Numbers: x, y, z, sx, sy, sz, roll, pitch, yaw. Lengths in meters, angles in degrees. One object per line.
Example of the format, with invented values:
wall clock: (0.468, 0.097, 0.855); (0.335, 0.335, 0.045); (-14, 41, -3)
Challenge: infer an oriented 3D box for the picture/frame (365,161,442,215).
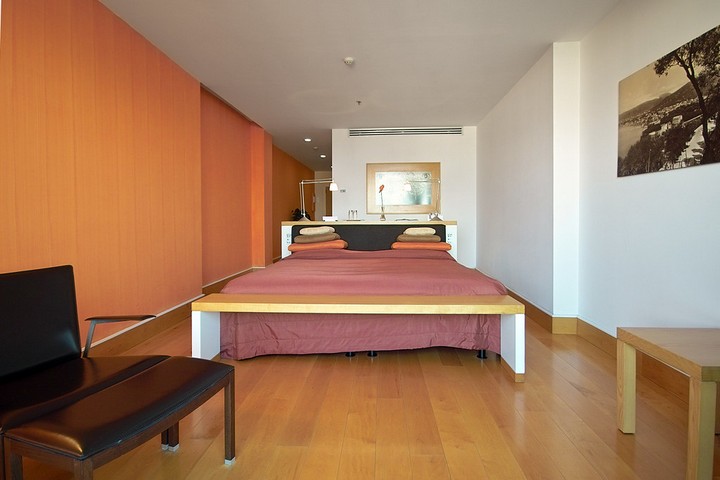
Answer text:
picture/frame: (0.755, -0.904, 7.723); (0.948, 0.675, 0.035); (0, 3, 1)
